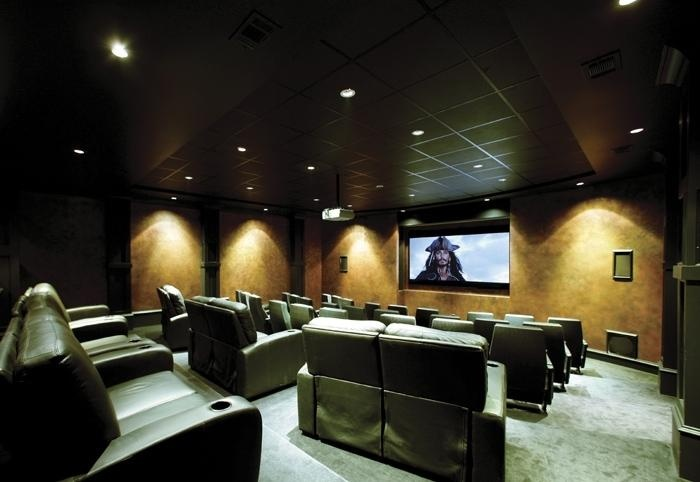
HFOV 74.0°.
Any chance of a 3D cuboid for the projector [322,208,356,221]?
[{"bbox_3d":[-0.235,-0.541,8.880,0.533,0.280,0.869,0,-4,-6],"label":"projector"}]
